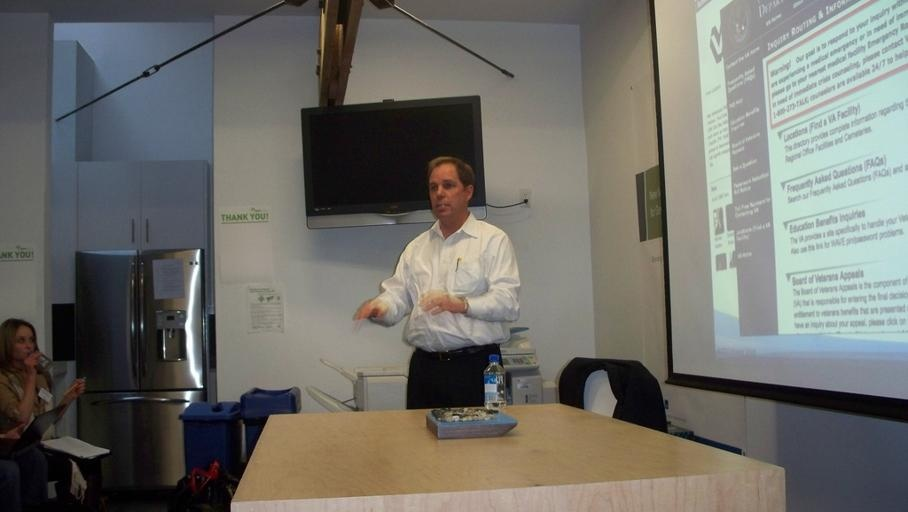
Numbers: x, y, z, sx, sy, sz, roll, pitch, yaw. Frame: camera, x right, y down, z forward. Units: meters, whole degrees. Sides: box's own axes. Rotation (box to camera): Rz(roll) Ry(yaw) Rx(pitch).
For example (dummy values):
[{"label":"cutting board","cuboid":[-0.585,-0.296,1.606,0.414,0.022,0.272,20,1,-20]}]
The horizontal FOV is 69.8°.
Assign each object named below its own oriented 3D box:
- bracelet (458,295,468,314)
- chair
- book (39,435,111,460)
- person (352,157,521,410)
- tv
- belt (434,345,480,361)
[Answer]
[{"label":"bracelet","cuboid":[0.056,0.303,4.173,0.067,0.090,0.034,-34,-40,18]},{"label":"chair","cuboid":[1.043,0.909,4.494,0.267,0.433,0.687,2,3,-42]},{"label":"book","cuboid":[-3.064,1.539,5.253,0.394,0.066,0.235,6,7,17]},{"label":"person","cuboid":[-0.076,0.152,4.518,1.028,1.775,0.775,-1,-4,5]},{"label":"tv","cuboid":[-0.563,-0.866,5.907,1.674,1.141,0.117,-3,1,7]},{"label":"belt","cuboid":[0.031,0.661,4.515,0.302,0.089,0.025,-1,-4,1]}]
